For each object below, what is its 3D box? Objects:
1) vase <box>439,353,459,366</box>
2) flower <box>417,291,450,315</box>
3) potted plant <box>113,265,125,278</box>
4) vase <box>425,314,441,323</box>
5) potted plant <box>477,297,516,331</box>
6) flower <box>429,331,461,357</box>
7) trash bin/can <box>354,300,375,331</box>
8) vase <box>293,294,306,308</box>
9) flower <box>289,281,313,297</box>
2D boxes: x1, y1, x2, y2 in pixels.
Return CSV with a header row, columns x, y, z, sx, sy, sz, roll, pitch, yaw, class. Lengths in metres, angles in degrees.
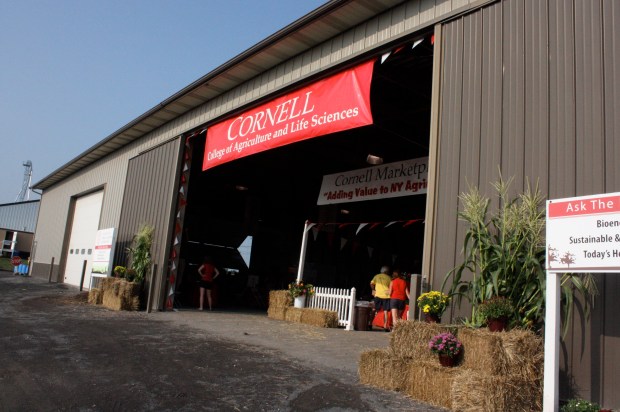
x,y,z,sx,sy,sz,roll,pitch,yaw,class
1.734,1.912,5.112,0.177,0.113,0.164,-4,-10,24,vase
1.716,1.353,5.688,0.367,0.274,0.360,2,-13,0,flower
-6.075,2.119,13.004,0.402,0.423,0.413,2,-6,-12,potted plant
1.735,1.578,5.786,0.162,0.120,0.165,1,-3,-16,vase
2.284,1.332,5.030,0.426,0.419,0.247,-3,-13,27,potted plant
1.683,1.750,5.111,0.287,0.253,0.294,0,2,-29,flower
1.587,3.018,11.238,0.702,0.778,0.659,9,-16,-36,trash bin/can
-0.289,2.731,11.575,0.306,0.332,0.290,2,-2,-22,vase
-0.251,2.431,11.749,0.477,0.309,0.484,3,-6,-5,flower
